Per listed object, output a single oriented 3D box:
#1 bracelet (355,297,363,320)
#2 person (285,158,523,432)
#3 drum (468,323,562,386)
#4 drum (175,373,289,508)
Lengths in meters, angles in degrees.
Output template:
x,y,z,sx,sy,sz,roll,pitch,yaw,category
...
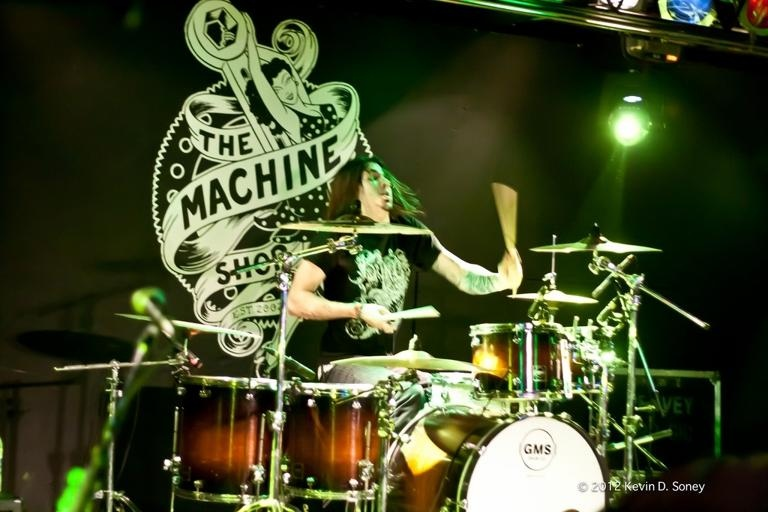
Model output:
x,y,z,sx,sy,sz,roll,pitch,yaw,category
-0.183,0.420,8.115,0.051,0.109,0.138,5,-21,-2,bracelet
0.090,0.353,8.478,1.294,2.216,1.070,-31,-40,35,person
0.958,0.705,7.877,0.507,0.325,0.521,2,-9,0,drum
-1.144,1.330,7.886,0.848,0.856,0.874,2,-4,27,drum
